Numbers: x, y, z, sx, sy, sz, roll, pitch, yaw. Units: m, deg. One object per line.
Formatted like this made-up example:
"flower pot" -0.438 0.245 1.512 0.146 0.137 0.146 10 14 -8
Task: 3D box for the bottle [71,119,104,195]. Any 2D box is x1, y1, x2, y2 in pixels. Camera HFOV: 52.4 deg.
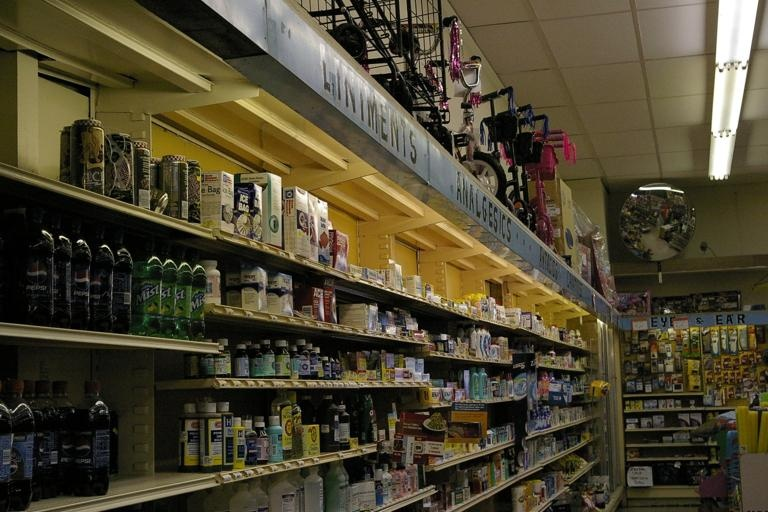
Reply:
"bottle" -1.285 -0.438 3.404 0.142 0.323 0.071 3 -14 -23

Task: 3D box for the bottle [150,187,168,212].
"bottle" -1.045 -0.260 3.648 0.078 0.108 0.017 9 -17 -40

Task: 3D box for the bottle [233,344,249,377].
"bottle" -0.752 0.552 4.145 0.082 0.176 0.056 0 -13 -12

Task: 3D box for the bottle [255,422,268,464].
"bottle" -0.641 0.985 4.134 0.052 0.221 0.129 -10 -15 29

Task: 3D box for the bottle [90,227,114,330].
"bottle" -1.228 0.115 3.418 0.104 0.421 0.067 4 -14 -25

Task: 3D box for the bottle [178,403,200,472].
"bottle" -0.972 0.898 3.897 0.092 0.335 0.130 5 -15 -27

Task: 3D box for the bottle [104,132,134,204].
"bottle" -1.175 -0.399 3.490 0.129 0.308 0.036 8 -16 -37

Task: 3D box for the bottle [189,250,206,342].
"bottle" -0.915 0.203 3.870 0.070 0.435 0.190 1 -13 -12

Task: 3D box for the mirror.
"mirror" 4.782 -0.603 13.616 1.356 1.548 0.210 0 11 -2

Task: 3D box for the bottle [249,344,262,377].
"bottle" -0.678 0.560 4.185 0.038 0.177 0.073 -13 -17 39

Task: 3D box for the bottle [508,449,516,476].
"bottle" 1.253 2.033 7.708 0.042 0.194 0.189 -2 -6 23

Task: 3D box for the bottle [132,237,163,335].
"bottle" -1.086 0.182 3.596 0.131 0.366 0.049 2 -14 -18

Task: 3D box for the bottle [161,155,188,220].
"bottle" -0.983 -0.328 3.701 0.144 0.303 0.046 7 -16 -35

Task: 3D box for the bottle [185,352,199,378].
"bottle" -0.974 0.556 3.972 0.071 0.118 0.030 -1 -13 -4

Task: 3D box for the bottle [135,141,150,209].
"bottle" -1.105 -0.376 3.589 0.086 0.325 0.051 7 -16 -34

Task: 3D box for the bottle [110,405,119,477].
"bottle" -1.273 0.885 3.704 0.043 0.292 0.063 2 -14 -18

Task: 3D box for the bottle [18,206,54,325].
"bottle" -1.404 0.067 3.193 0.124 0.419 0.059 5 -15 -27

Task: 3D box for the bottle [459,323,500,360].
"bottle" 0.891 0.808 7.250 0.200 0.252 0.690 -3 -10 23

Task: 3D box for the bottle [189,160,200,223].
"bottle" -0.918 -0.314 3.799 0.034 0.316 0.095 -7 -14 18

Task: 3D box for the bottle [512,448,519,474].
"bottle" 1.298 2.032 7.750 0.038 0.172 0.168 -2 -3 15

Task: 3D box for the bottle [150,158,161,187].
"bottle" -1.069 -0.394 3.673 0.051 0.143 0.023 7 -16 -36
